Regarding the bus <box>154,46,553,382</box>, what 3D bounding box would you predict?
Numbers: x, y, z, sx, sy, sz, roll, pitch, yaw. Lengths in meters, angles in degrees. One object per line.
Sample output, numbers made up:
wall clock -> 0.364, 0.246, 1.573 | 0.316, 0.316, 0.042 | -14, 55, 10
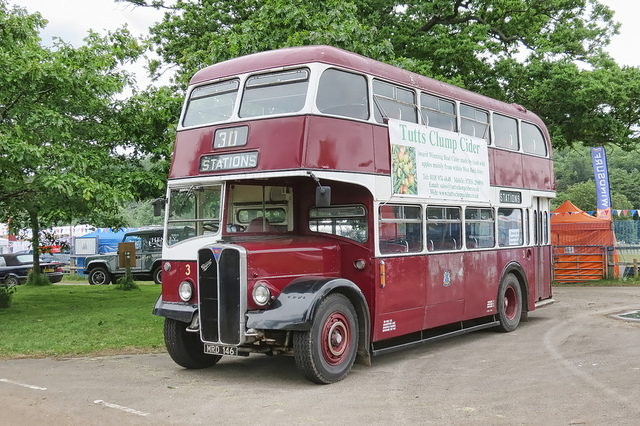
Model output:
bus -> 0.926, 0.279, 10.506 | 3.280, 4.228, 8.505 | -2, -3, 42

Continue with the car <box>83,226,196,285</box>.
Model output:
car -> -9.446, 2.487, 28.210 | 6.359, 3.036, 3.431 | -4, -4, 11

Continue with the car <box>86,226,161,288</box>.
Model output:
car -> -9.977, 2.468, 27.877 | 5.392, 2.968, 2.736 | 0, 0, -10

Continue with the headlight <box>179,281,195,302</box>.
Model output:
headlight -> -2.471, 1.454, 9.405 | 0.323, 0.342, 0.148 | -14, -2, 34
